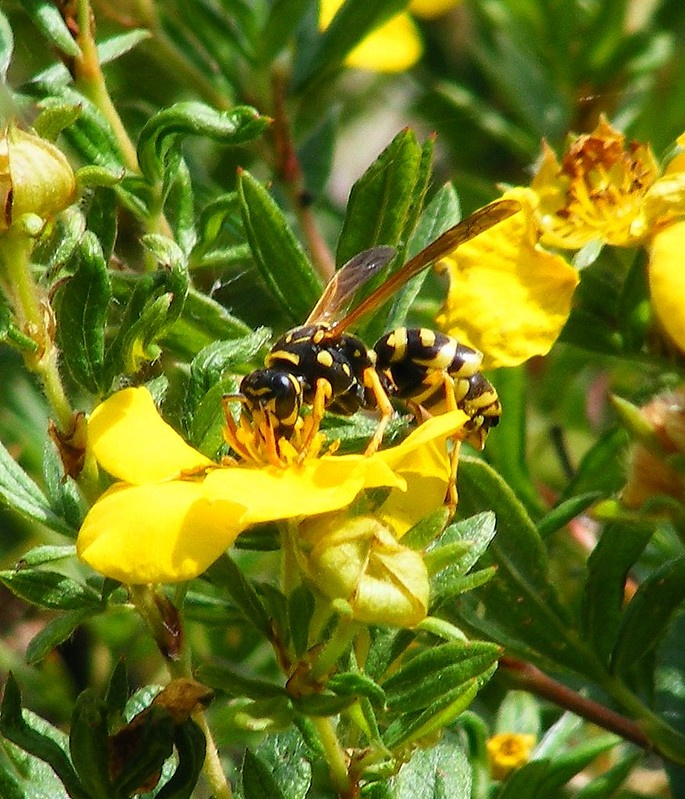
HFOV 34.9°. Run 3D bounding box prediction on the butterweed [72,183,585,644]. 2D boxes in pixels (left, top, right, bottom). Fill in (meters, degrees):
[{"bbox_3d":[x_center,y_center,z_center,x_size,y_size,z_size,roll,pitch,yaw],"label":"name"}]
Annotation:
[{"bbox_3d":[-0.055,0.044,0.804,0.278,0.359,0.408,5,18,31],"label":"butterweed"}]
